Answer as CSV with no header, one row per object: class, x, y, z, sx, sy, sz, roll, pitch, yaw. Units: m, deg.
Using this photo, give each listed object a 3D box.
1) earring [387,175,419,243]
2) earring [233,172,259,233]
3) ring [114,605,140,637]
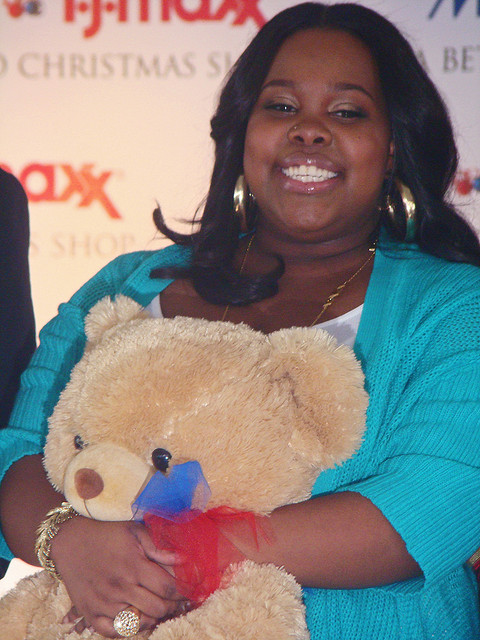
earring,0.337,-0.232,1.456,0.030,0.121,0.119,-12,28,-15
earring,0.006,-0.255,1.561,0.052,0.127,0.075,-11,32,-28
ring,-0.152,0.411,0.958,0.031,0.037,0.027,21,31,30
